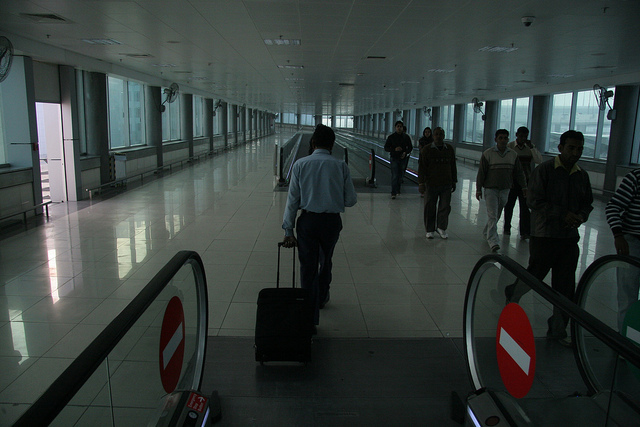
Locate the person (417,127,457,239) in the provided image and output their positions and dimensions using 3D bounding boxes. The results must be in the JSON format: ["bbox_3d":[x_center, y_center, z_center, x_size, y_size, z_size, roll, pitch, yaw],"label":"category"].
[{"bbox_3d":[1.978,-0.471,8.222,0.662,1.965,0.495,-2,13,-2],"label":"person"}]

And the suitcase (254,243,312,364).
[{"bbox_3d":[-0.353,0.819,4.873,0.582,1.340,0.418,3,-27,-5],"label":"suitcase"}]

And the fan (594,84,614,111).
[{"bbox_3d":[7.743,-3.178,13.149,0.451,0.730,2.188,6,16,29],"label":"fan"}]

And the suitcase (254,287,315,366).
[{"bbox_3d":[-0.348,1.100,4.755,0.568,0.704,0.411,0,-22,-6],"label":"suitcase"}]
